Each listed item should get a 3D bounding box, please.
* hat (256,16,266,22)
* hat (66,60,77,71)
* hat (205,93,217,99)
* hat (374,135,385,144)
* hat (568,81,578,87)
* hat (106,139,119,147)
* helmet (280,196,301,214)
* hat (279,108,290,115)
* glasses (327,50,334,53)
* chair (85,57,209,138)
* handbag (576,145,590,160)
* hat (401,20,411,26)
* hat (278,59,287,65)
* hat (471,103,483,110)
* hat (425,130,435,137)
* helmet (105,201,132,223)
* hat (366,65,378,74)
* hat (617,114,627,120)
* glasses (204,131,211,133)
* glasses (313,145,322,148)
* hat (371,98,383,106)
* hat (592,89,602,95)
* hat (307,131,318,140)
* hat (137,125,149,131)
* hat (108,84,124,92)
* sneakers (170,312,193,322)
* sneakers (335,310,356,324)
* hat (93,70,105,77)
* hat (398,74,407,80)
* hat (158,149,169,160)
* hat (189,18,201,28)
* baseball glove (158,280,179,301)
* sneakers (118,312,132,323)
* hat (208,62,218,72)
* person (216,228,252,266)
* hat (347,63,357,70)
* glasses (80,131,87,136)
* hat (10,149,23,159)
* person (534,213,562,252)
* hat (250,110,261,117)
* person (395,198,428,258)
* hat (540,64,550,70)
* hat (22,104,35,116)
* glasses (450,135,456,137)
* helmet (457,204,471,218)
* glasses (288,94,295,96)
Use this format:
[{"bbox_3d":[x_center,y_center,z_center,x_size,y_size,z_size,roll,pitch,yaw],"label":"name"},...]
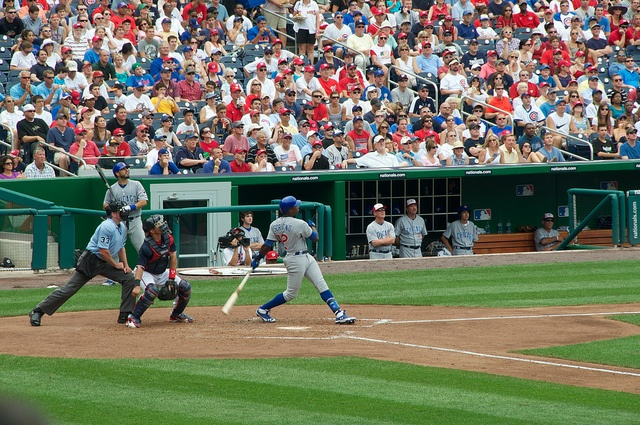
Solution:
[{"bbox_3d":[-1.802,-6.066,38.513,0.205,0.151,0.290,0,4,-9],"label":"hat"},{"bbox_3d":[-6.798,-4.030,33.869,0.279,0.309,0.248,2,-3,-29],"label":"hat"},{"bbox_3d":[-3.007,-3.196,34.028,0.318,0.188,0.269,0,-2,10],"label":"hat"},{"bbox_3d":[1.613,-1.987,33.566,0.281,0.254,0.284,2,-2,-18],"label":"hat"},{"bbox_3d":[7.751,-3.957,37.880,0.255,0.181,0.408,-1,11,7],"label":"hat"},{"bbox_3d":[-5.352,-1.798,31.987,0.281,0.215,0.556,2,-3,-23],"label":"hat"},{"bbox_3d":[-0.618,-0.159,25.908,0.421,0.228,0.284,-30,33,-15],"label":"helmet"},{"bbox_3d":[-0.966,-2.758,33.768,0.208,0.147,0.333,-2,-3,-10],"label":"hat"},{"bbox_3d":[0.294,-4.849,37.023,0.121,0.085,0.192,1,16,0],"label":"glasses"},{"bbox_3d":[-4.782,-3.067,33.668,2.229,2.798,2.442,1,-9,-16],"label":"chair"},{"bbox_3d":[7.677,-1.746,36.024,0.401,0.390,0.371,5,8,25],"label":"handbag"},{"bbox_3d":[2.709,-6.004,39.035,0.375,0.166,0.522,1,-4,-4],"label":"hat"},{"bbox_3d":[-1.081,-4.401,35.903,0.204,0.146,0.327,1,-7,-4],"label":"hat"},{"bbox_3d":[4.592,-3.092,35.923,0.189,0.249,0.256,3,8,-2],"label":"hat"},{"bbox_3d":[3.051,-2.189,34.339,0.259,0.235,0.409,1,-2,4],"label":"hat"},{"bbox_3d":[-4.238,-0.033,25.957,0.481,0.413,0.418,1,-2,-10],"label":"helmet"},{"bbox_3d":[1.564,-4.285,37.003,0.433,0.198,0.659,0,3,0],"label":"hat"},{"bbox_3d":[8.904,-2.832,36.372,0.244,0.174,0.395,-2,-1,9],"label":"hat"},{"bbox_3d":[-3.001,-2.113,32.718,0.159,0.067,0.104,1,-2,6],"label":"glasses"},{"bbox_3d":[-0.069,-1.760,33.221,0.119,0.082,0.189,0,7,-6],"label":"glasses"},{"bbox_3d":[1.569,-3.099,34.695,0.194,0.133,0.255,-5,5,-38],"label":"hat"},{"bbox_3d":[8.446,-3.652,37.422,0.232,0.165,0.370,1,0,5],"label":"hat"},{"bbox_3d":[-0.198,-2.042,33.428,0.272,0.336,0.372,1,-2,-1],"label":"hat"},{"bbox_3d":[-4.618,-2.206,32.207,0.204,0.144,0.323,5,9,-18],"label":"hat"},{"bbox_3d":[-5.559,-3.420,33.685,0.362,0.202,0.223,7,0,-25],"label":"hat"},{"bbox_3d":[-2.908,2.243,26.055,0.487,0.226,0.189,1,3,-4],"label":"sneakers"},{"bbox_3d":[0.548,2.221,25.825,0.434,0.296,0.208,-6,1,3],"label":"sneakers"},{"bbox_3d":[-5.996,-3.771,33.531,0.229,0.116,0.169,-10,5,20],"label":"hat"},{"bbox_3d":[2.426,-3.929,36.034,0.259,0.192,0.413,3,7,2],"label":"hat"},{"bbox_3d":[-4.043,-1.497,31.787,0.325,0.267,0.259,0,-2,12],"label":"hat"},{"bbox_3d":[-3.818,-5.777,37.520,0.349,0.181,0.228,25,27,24],"label":"hat"},{"bbox_3d":[-3.126,1.653,25.598,0.433,0.276,0.341,-3,10,13],"label":"baseball glove"},{"bbox_3d":[-4.091,2.244,25.826,0.157,0.195,0.292,2,-6,-16],"label":"sneakers"},{"bbox_3d":[-3.076,-4.159,35.466,0.197,0.298,0.302,1,4,-14],"label":"hat"},{"bbox_3d":[-2.181,0.851,30.800,0.668,0.947,0.827,2,14,4],"label":"person"},{"bbox_3d":[0.931,-4.327,36.440,0.223,0.174,0.357,3,7,4],"label":"hat"},{"bbox_3d":[-6.063,-2.033,31.737,0.129,0.091,0.204,1,6,-19],"label":"glasses"},{"bbox_3d":[-7.849,-1.513,31.960,0.299,0.272,0.933,1,-3,-13],"label":"hat"},{"bbox_3d":[6.669,0.638,35.918,0.909,1.227,1.004,2,3,13],"label":"person"},{"bbox_3d":[-1.787,-2.710,33.599,0.246,0.197,0.401,2,-3,-19],"label":"hat"},{"bbox_3d":[2.483,0.453,33.855,0.876,1.603,0.555,1,-2,-7],"label":"person"},{"bbox_3d":[6.980,-4.524,38.386,0.270,0.137,0.412,0,3,4],"label":"hat"},{"bbox_3d":[-7.540,-2.694,32.003,0.207,0.193,0.252,2,-10,-38],"label":"hat"},{"bbox_3d":[3.743,-2.144,34.656,0.209,0.071,0.068,2,-2,-20],"label":"glasses"},{"bbox_3d":[4.010,-0.047,34.674,0.282,0.180,0.372,-2,-8,-16],"label":"helmet"},{"bbox_3d":[-0.804,-3.291,34.697,0.162,0.026,0.056,2,-3,-27],"label":"glasses"}]
